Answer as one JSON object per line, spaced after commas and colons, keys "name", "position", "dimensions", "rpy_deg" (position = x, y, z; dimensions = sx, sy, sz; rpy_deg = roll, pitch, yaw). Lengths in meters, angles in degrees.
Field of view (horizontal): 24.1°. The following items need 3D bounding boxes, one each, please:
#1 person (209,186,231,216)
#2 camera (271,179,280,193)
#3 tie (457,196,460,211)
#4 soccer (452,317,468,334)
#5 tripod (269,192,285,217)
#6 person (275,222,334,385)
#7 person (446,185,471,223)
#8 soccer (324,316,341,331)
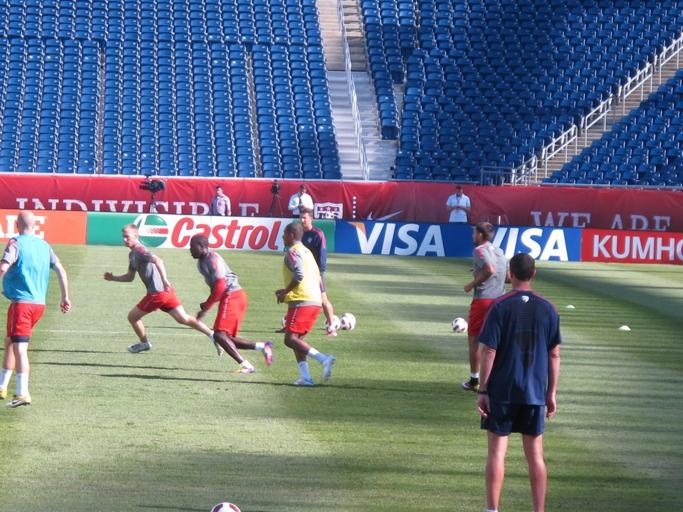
{"name": "person", "position": [-3.979, -1.841, 53.530], "dimensions": [0.632, 0.989, 1.565], "rpy_deg": [0, 7, -5]}
{"name": "camera", "position": [-2.191, -2.326, 54.142], "dimensions": [0.274, 0.473, 0.402], "rpy_deg": [1, 7, -1]}
{"name": "tie", "position": [3.955, -1.770, 53.453], "dimensions": [0.147, 0.348, 0.092], "rpy_deg": [2, -11, 0]}
{"name": "soccer", "position": [3.052, 1.791, 40.864], "dimensions": [0.382, 0.347, 0.362], "rpy_deg": [-24, 43, -23]}
{"name": "tripod", "position": [-2.144, -1.724, 54.469], "dimensions": [0.522, 0.721, 0.482], "rpy_deg": [0, 8, -3]}
{"name": "person", "position": [-0.820, 1.146, 36.488], "dimensions": [1.218, 3.682, 0.847], "rpy_deg": [1, 8, 3]}
{"name": "person", "position": [3.956, -1.724, 53.607], "dimensions": [0.764, 1.269, 0.501], "rpy_deg": [0, 8, -9]}
{"name": "soccer", "position": [-0.173, 1.752, 40.051], "dimensions": [0.438, 0.453, 0.372], "rpy_deg": [-2, 52, 5]}
